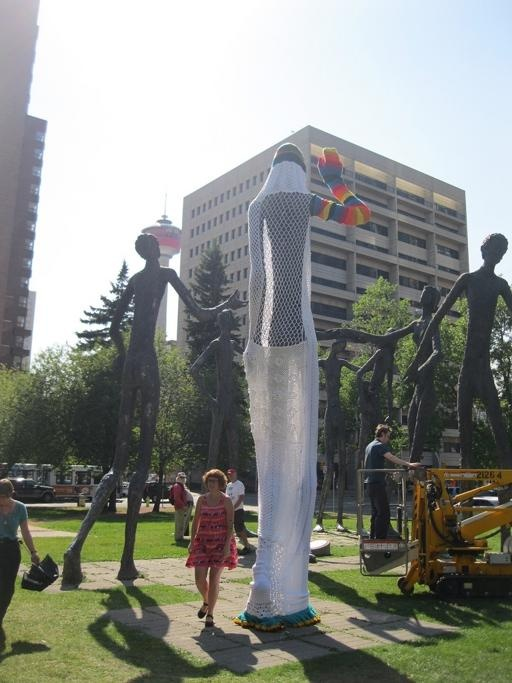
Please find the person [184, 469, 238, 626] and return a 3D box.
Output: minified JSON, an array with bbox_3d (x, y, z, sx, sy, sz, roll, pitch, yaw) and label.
[{"bbox_3d":[-0.438,1.965,7.055,0.484,1.425,0.437,-2,-14,23],"label":"person"}]
